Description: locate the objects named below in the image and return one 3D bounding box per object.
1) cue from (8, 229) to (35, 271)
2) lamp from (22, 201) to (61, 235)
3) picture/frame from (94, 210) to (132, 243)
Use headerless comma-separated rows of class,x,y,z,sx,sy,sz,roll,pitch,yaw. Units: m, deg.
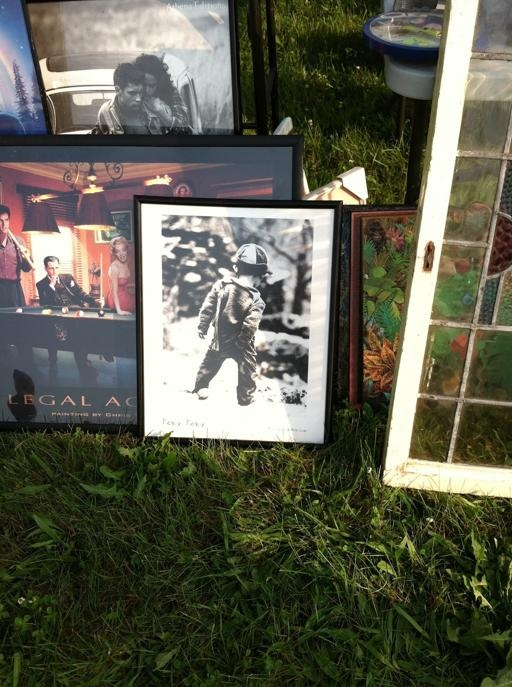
cue,-0.832,-0.336,2.107,0.040,0.131,0.097,-11,5,43
lamp,-0.749,-0.460,2.120,0.116,0.106,0.117,8,18,18
picture/frame,-0.507,-0.423,2.083,0.121,0.104,0.011,1,7,0
